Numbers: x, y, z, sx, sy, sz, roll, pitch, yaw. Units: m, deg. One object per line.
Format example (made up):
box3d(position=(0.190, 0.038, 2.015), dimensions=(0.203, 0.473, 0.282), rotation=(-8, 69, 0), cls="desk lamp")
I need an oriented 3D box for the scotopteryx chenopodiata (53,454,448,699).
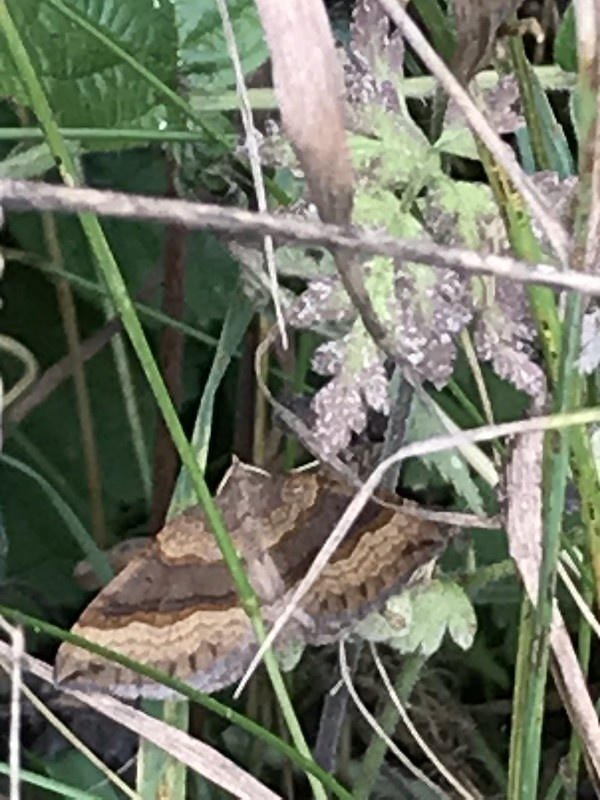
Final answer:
box3d(position=(-0.024, 0.069, 0.411), dimensions=(0.160, 0.042, 0.095), rotation=(-19, 53, -10), cls="scotopteryx chenopodiata")
